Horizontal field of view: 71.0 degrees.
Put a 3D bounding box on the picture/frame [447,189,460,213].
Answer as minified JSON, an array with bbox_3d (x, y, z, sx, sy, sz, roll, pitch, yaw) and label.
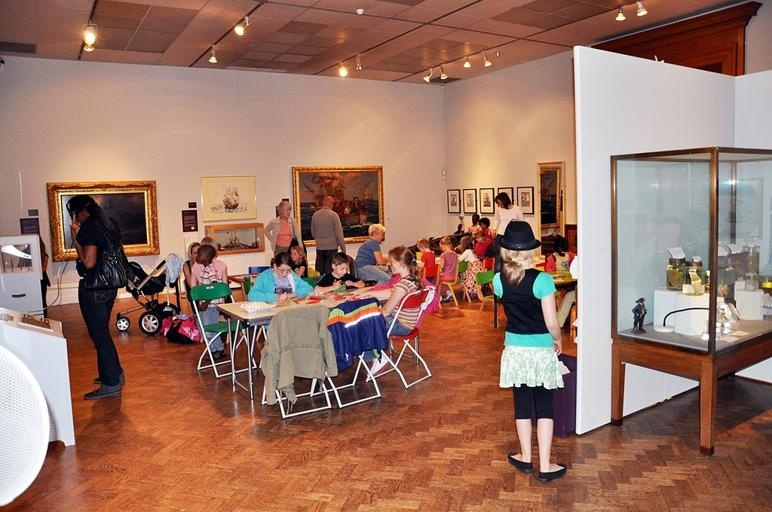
[{"bbox_3d":[1.987,-1.659,15.978,0.081,0.982,0.699,-1,3,-26],"label":"picture/frame"}]

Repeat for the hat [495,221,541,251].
[{"bbox_3d":[1.491,-0.241,6.240,0.629,0.275,0.722,2,19,17],"label":"hat"}]

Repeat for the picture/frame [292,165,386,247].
[{"bbox_3d":[-1.311,-1.315,13.732,2.262,1.755,0.120,-6,10,-25],"label":"picture/frame"}]

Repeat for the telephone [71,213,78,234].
[{"bbox_3d":[-3.851,-0.408,6.696,0.092,0.242,0.177,2,3,-34],"label":"telephone"}]

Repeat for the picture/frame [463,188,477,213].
[{"bbox_3d":[2.380,-1.594,15.409,0.041,0.934,0.705,0,3,-35],"label":"picture/frame"}]

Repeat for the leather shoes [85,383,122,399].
[{"bbox_3d":[-3.606,1.740,6.991,0.468,0.189,0.174,2,2,-14],"label":"leather shoes"}]

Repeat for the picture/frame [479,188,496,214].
[{"bbox_3d":[2.772,-1.526,14.795,0.054,0.772,0.550,-3,19,-24],"label":"picture/frame"}]

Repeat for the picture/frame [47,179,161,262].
[{"bbox_3d":[-5.507,-0.748,10.391,1.839,1.435,0.099,-3,5,-34],"label":"picture/frame"}]

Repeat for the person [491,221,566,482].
[{"bbox_3d":[1.348,0.888,5.095,0.636,2.438,0.298,-1,7,19],"label":"person"}]

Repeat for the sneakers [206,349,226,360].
[{"bbox_3d":[-2.522,1.467,8.055,0.268,0.112,0.145,11,5,-27],"label":"sneakers"}]

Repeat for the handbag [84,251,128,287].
[{"bbox_3d":[-3.448,0.160,6.611,0.185,0.417,0.416,3,4,44],"label":"handbag"}]

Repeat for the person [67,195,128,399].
[{"bbox_3d":[-3.540,0.530,6.742,0.613,2.558,0.369,-7,8,-30],"label":"person"}]

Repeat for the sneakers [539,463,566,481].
[{"bbox_3d":[1.567,2.031,5.149,0.293,0.113,0.104,-11,11,-33],"label":"sneakers"}]

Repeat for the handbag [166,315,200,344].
[{"bbox_3d":[-3.374,1.241,8.993,0.430,0.252,0.698,-1,7,-36],"label":"handbag"}]

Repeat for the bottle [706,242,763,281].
[{"bbox_3d":[3.529,0.038,5.397,0.766,0.397,0.062,-7,8,-33],"label":"bottle"}]
